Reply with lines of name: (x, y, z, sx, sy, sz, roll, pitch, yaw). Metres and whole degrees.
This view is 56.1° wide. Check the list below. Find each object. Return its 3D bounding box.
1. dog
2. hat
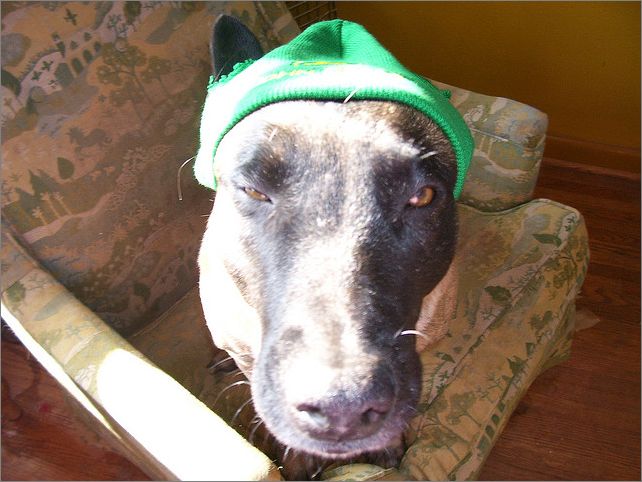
dog: (0.020, 0.061, 1.694, 0.863, 1.201, 0.803, 0, 15, 4)
hat: (-0.024, -0.401, 1.742, 0.541, 0.254, 0.679, -1, 21, -4)
